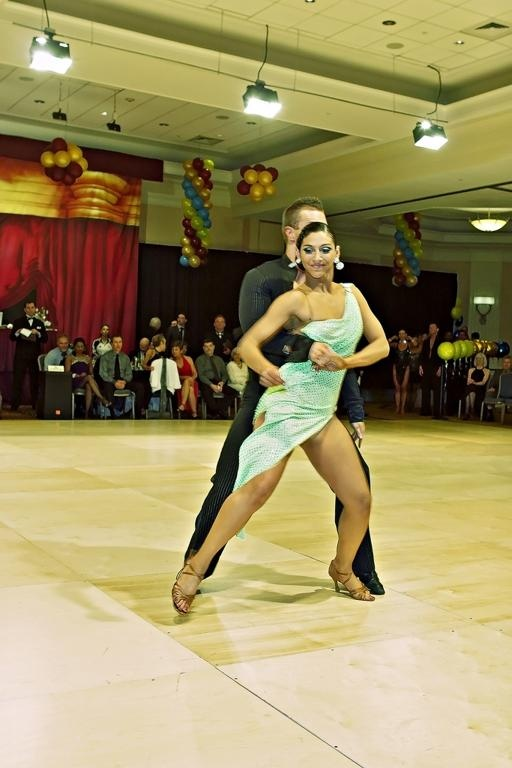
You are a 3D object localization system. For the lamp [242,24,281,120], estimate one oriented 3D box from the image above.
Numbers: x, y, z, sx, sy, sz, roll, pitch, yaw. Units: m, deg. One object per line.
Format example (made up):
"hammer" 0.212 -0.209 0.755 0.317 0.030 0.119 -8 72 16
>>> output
"lamp" 0.113 -4.533 8.398 0.512 1.312 1.300 5 0 -1

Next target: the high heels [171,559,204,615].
"high heels" -0.260 0.746 2.064 0.080 0.214 0.054 28 -23 -27

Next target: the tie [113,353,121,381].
"tie" -2.832 -0.326 11.341 0.155 0.531 0.058 5 0 -15

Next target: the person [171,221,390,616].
"person" 0.150 0.143 2.118 0.820 1.465 0.431 5 0 -8

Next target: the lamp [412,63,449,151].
"lamp" 3.042 -4.647 9.653 0.517 1.409 1.458 5 0 16

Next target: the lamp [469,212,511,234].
"lamp" 7.160 -4.976 16.968 0.966 0.353 0.924 -3 4 -21

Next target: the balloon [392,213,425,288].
"balloon" 3.740 -3.381 13.849 0.670 1.885 0.591 5 0 17

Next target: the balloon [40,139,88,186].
"balloon" -3.606 -4.212 10.421 0.747 0.875 0.414 5 0 -19

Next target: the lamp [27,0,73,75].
"lamp" -2.600 -4.430 7.052 0.472 0.918 0.571 5 0 -23
